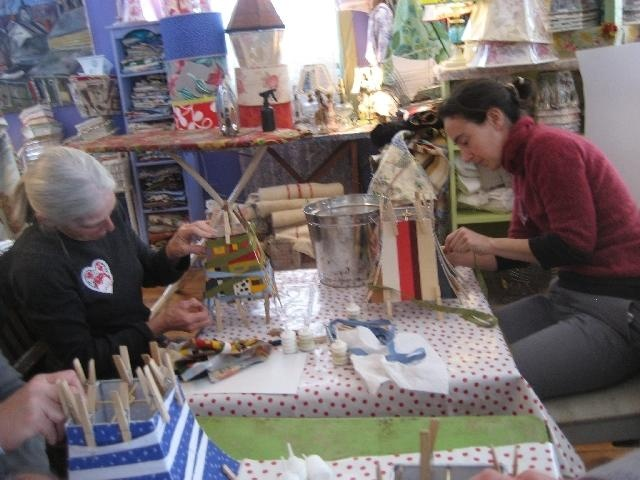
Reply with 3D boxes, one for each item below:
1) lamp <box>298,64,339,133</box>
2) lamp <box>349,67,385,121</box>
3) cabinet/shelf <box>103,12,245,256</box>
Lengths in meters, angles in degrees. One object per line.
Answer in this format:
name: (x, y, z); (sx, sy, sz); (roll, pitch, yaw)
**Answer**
lamp: (-0.010, -1.029, 3.543); (0.289, 0.465, 0.532); (-5, 17, 3)
lamp: (0.351, -1.053, 3.525); (0.135, 0.372, 0.389); (-13, 18, -19)
cabinet/shelf: (-1.177, -0.871, 3.876); (0.765, 1.552, 0.401); (14, 24, 41)
